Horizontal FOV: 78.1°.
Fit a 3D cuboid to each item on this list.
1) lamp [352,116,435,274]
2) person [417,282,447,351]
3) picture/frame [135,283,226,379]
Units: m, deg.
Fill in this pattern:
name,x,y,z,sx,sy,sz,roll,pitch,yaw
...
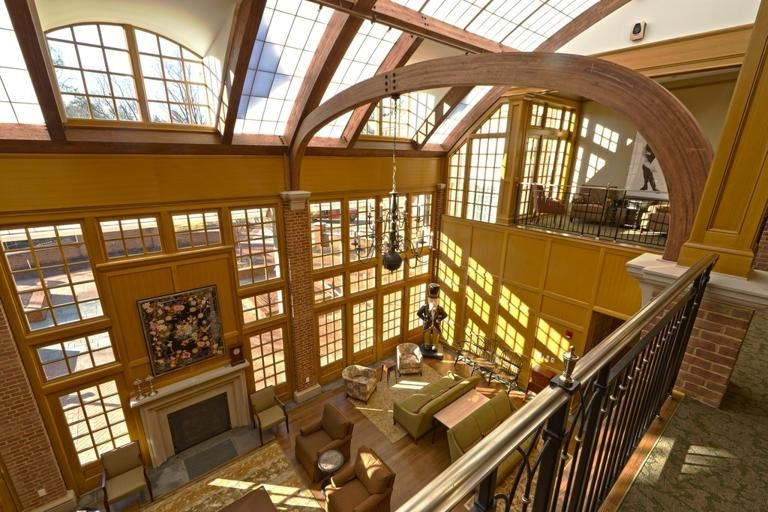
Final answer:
name,x,y,z,sx,sy,sz,roll,pitch,yaw
lamp,0.276,-1.280,10.428,1.303,2.953,1.266,0,-2,-14
person,1.044,1.346,10.085,0.660,1.395,0.458,0,11,-5
picture/frame,-4.388,1.613,10.366,1.593,1.762,0.082,-9,15,-33
